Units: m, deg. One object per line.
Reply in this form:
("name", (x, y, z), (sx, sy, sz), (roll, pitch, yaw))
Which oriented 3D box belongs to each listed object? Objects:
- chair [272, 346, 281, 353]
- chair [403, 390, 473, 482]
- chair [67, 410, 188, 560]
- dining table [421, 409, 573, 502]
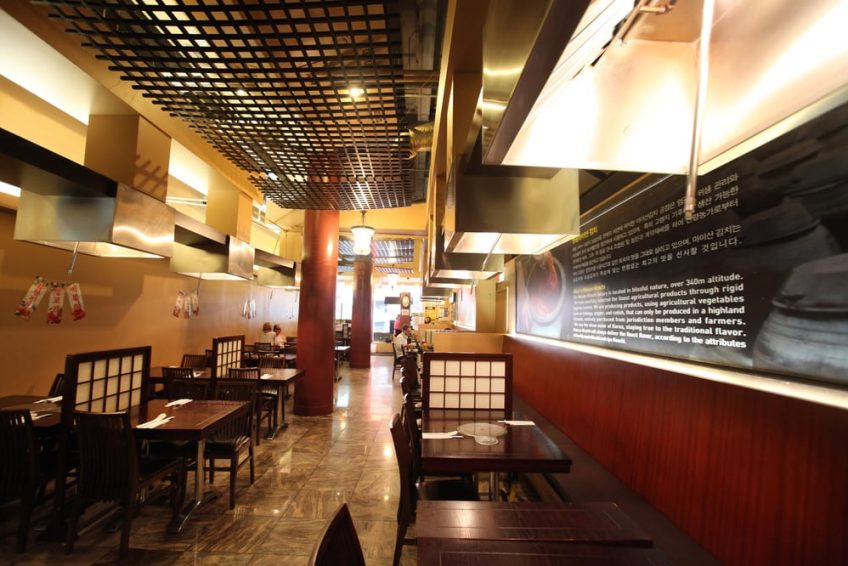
("chair", (-2.427, 1.085, 8.861), (0.147, 0.152, 0.539), (2, -10, -16))
("chair", (0.119, 1.169, 4.175), (0.521, 0.662, 0.835), (0, 1, -3))
("chair", (-2.438, 1.578, 4.381), (0.606, 1.089, 0.785), (-3, -10, 13))
("dining table", (0.485, 1.216, 3.959), (1.008, 0.318, 0.678), (0, -10, -3))
